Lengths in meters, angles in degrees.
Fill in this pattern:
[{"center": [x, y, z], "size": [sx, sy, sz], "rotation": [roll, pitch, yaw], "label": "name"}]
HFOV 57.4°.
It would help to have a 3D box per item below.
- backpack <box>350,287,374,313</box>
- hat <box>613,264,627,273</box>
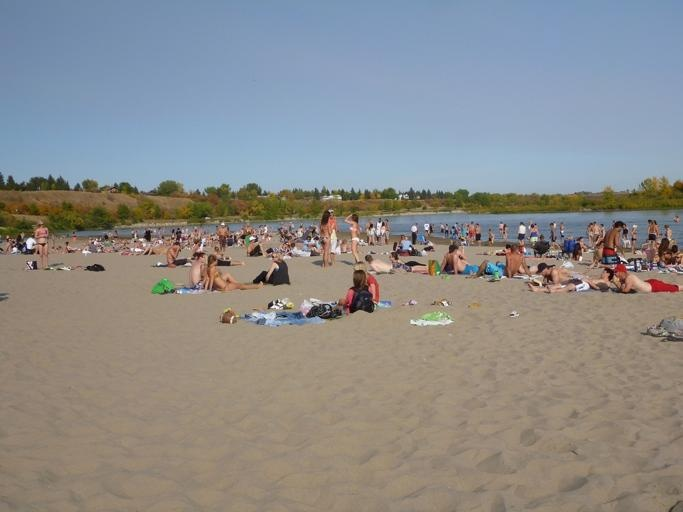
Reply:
[{"center": [0.395, 0.858, 12.166], "size": [0.503, 0.660, 0.378], "rotation": [6, -32, -12], "label": "backpack"}, {"center": [6.052, 0.272, 13.457], "size": [0.267, 0.139, 0.202], "rotation": [2, 0, -19], "label": "hat"}]
